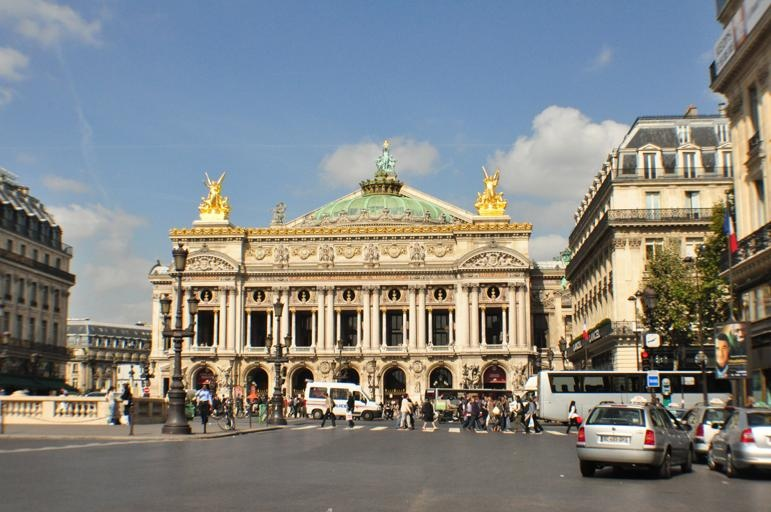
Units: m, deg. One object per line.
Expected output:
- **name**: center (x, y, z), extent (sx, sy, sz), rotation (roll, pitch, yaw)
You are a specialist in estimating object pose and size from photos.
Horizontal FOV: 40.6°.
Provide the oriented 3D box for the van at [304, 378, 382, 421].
- **van**: center (-3.954, 11.902, 86.219), extent (6.501, 3.508, 1.515), rotation (-7, -16, 24)
